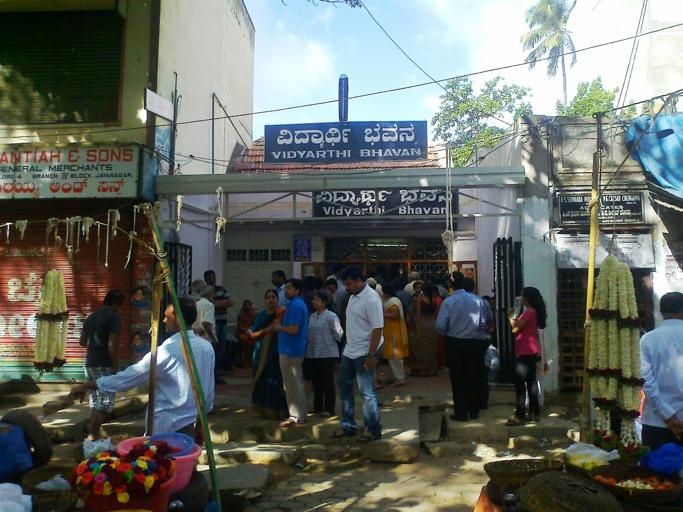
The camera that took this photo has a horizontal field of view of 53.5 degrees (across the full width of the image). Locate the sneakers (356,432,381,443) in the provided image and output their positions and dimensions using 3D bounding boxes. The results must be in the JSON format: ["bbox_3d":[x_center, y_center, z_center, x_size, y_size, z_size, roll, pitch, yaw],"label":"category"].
[{"bbox_3d":[0.378,2.372,8.830,0.232,0.097,0.124,6,-10,-9],"label":"sneakers"}]

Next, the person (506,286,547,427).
[{"bbox_3d":[2.586,1.411,9.452,0.474,1.897,0.823,1,10,17],"label":"person"}]

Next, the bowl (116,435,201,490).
[{"bbox_3d":[-1.611,1.881,6.233,0.636,0.465,0.625,-2,10,0],"label":"bowl"}]

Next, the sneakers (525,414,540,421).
[{"bbox_3d":[2.676,2.276,9.502,0.076,0.084,0.198,-7,-20,26],"label":"sneakers"}]

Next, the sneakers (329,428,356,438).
[{"bbox_3d":[0.026,2.382,9.167,0.361,0.141,0.129,2,-3,3],"label":"sneakers"}]

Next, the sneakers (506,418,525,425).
[{"bbox_3d":[2.401,2.289,9.355,0.234,0.103,0.100,4,-8,-13],"label":"sneakers"}]

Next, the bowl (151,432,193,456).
[{"bbox_3d":[-1.512,1.760,6.333,0.209,0.083,0.208,16,-3,1],"label":"bowl"}]
